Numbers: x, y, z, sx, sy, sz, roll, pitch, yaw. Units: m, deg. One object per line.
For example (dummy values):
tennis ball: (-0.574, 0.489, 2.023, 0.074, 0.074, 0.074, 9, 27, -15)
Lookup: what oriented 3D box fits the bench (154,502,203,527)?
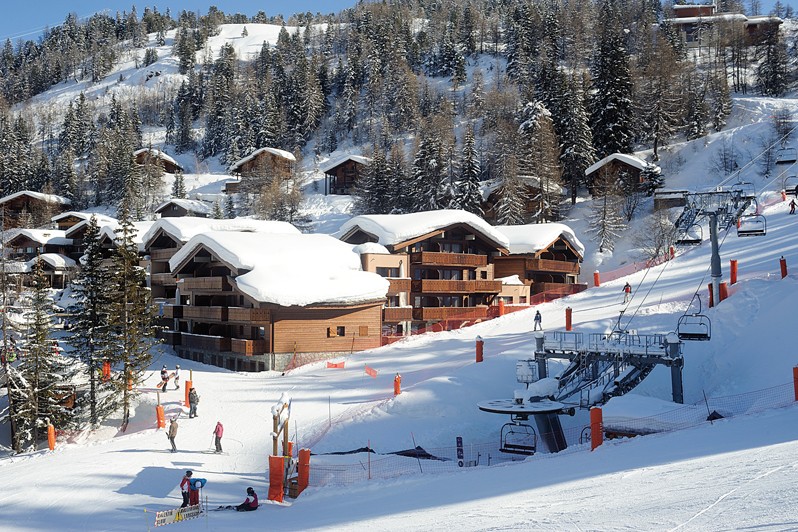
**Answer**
bench: (-29.195, 33.439, 178.010, 6.067, 1.953, 0.992, -6, 3, -18)
